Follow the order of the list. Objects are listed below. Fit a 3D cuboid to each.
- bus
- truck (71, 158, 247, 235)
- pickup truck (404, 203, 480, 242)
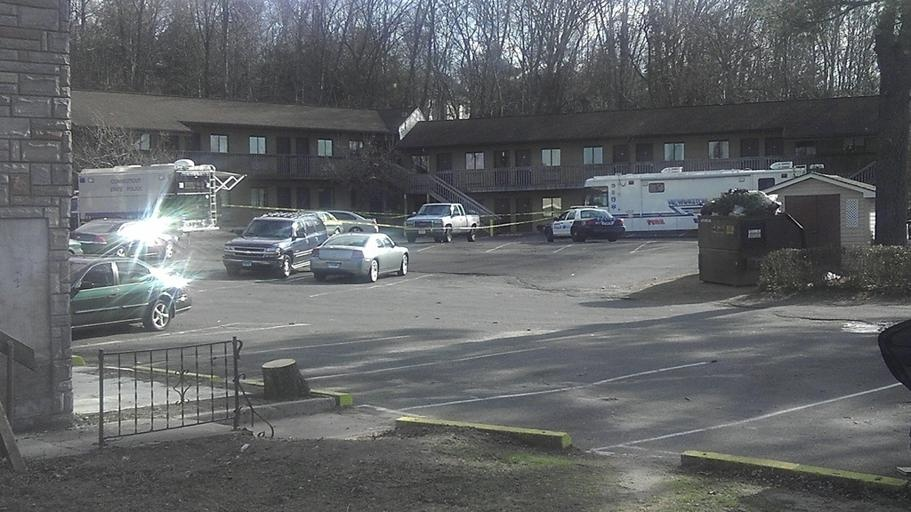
[{"bbox_3d":[12.318,-2.944,65.450,10.339,3.436,1.183,0,5,20],"label":"bus"},{"bbox_3d":[-15.652,-2.993,58.118,6.596,2.553,3.724,1,1,2],"label":"truck"},{"bbox_3d":[-0.688,-1.809,65.567,4.223,2.145,2.048,-4,5,-38],"label":"pickup truck"}]
